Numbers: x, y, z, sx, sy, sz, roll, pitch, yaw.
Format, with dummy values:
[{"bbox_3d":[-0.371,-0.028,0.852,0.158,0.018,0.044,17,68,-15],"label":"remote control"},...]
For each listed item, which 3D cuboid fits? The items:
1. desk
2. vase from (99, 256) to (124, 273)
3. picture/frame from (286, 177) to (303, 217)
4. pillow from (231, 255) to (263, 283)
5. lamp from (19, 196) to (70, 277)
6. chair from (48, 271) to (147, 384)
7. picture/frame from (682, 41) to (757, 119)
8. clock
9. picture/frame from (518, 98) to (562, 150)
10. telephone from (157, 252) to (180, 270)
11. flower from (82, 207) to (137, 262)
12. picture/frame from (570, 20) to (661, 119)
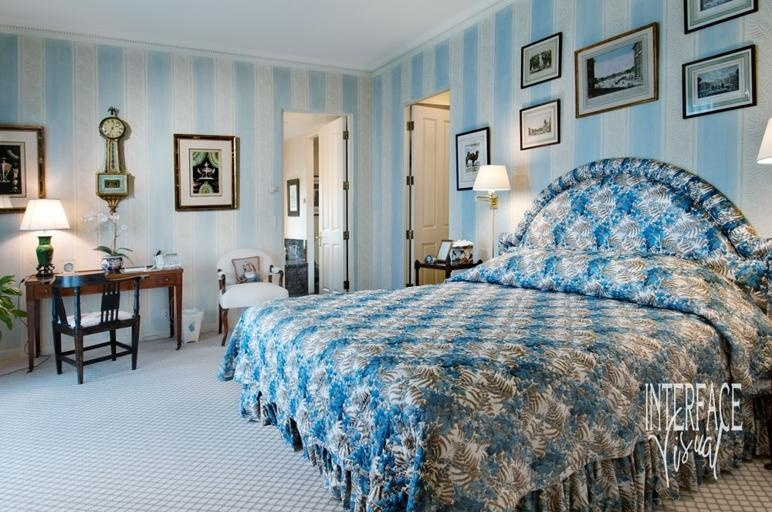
[{"bbox_3d":[-3.020,0.555,5.858,1.540,1.001,0.562,-5,19,-41],"label":"desk"},{"bbox_3d":[-2.965,0.063,5.760,0.184,0.151,0.181,-1,10,-21],"label":"vase"},{"bbox_3d":[-1.713,-1.132,10.084,0.061,0.855,0.832,0,-1,-25],"label":"picture/frame"},{"bbox_3d":[-1.700,0.135,6.467,0.297,0.313,0.121,-4,-15,-21],"label":"pillow"},{"bbox_3d":[-3.526,-0.227,5.565,0.412,0.756,0.511,-8,16,-32],"label":"lamp"},{"bbox_3d":[-2.860,0.611,5.238,0.719,1.042,0.805,-7,8,-44],"label":"chair"},{"bbox_3d":[2.573,-1.346,4.068,0.046,0.666,0.664,-1,2,-44],"label":"picture/frame"},{"bbox_3d":[-3.060,-1.083,5.998,0.347,1.133,0.304,-2,14,-8],"label":"clock"},{"bbox_3d":[1.514,-1.287,5.156,0.059,0.525,0.549,-2,2,-39],"label":"picture/frame"},{"bbox_3d":[-2.471,0.036,6.027,0.194,0.133,0.195,0,2,-16],"label":"telephone"},{"bbox_3d":[-3.093,-0.190,5.974,0.382,0.622,0.497,-2,-2,23],"label":"flower"},{"bbox_3d":[2.002,-1.597,4.637,0.770,0.728,0.092,13,19,43],"label":"picture/frame"}]
